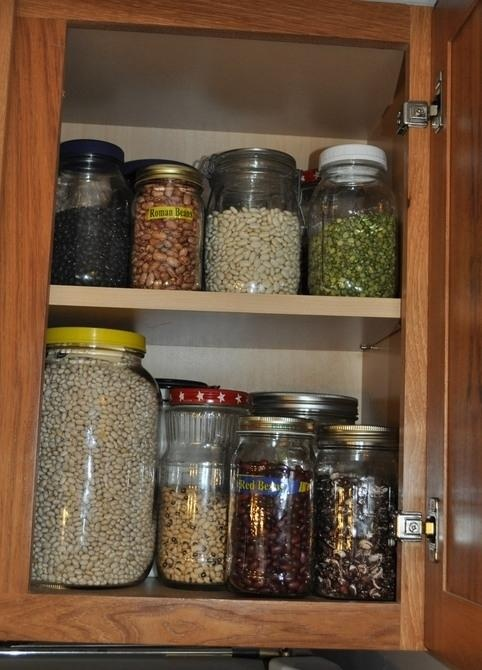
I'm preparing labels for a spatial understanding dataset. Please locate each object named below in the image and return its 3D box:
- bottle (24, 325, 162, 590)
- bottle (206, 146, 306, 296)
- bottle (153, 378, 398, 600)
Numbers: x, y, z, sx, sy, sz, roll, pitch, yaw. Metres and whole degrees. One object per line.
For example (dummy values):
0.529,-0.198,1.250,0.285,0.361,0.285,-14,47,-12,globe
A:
-0.157,0.158,0.846,0.183,0.295,0.180,-3,-7,0,bottle
0.044,-0.151,0.915,0.135,0.188,0.133,1,12,0,bottle
0.050,0.209,0.787,0.273,0.236,0.148,2,-8,0,bottle
